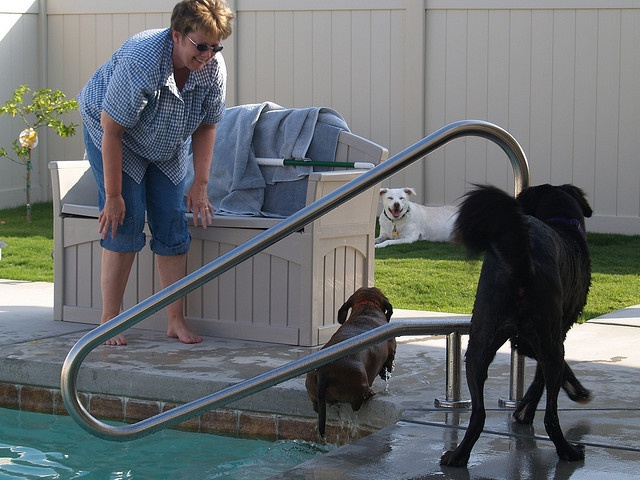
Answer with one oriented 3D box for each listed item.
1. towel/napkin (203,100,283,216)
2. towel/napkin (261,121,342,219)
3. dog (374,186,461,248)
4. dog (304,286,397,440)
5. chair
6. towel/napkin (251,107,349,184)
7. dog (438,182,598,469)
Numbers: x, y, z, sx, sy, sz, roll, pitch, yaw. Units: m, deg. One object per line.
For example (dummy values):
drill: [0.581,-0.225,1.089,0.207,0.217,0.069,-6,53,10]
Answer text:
towel/napkin: [-0.513,-0.531,6.657,0.490,0.712,0.203,4,-2,36]
towel/napkin: [-0.107,-0.424,6.172,0.429,0.835,0.093,17,3,28]
dog: [1.038,-0.249,10.636,1.219,0.637,0.426,-3,5,-36]
dog: [0.163,0.631,5.161,0.431,0.582,0.860,-1,12,6]
chair: [-0.691,-0.138,6.473,2.027,1.461,1.101,4,2,27]
towel/napkin: [-0.185,-0.671,6.559,0.525,0.557,0.235,2,-7,32]
dog: [0.862,0.319,4.369,0.666,1.175,0.598,0,11,8]
